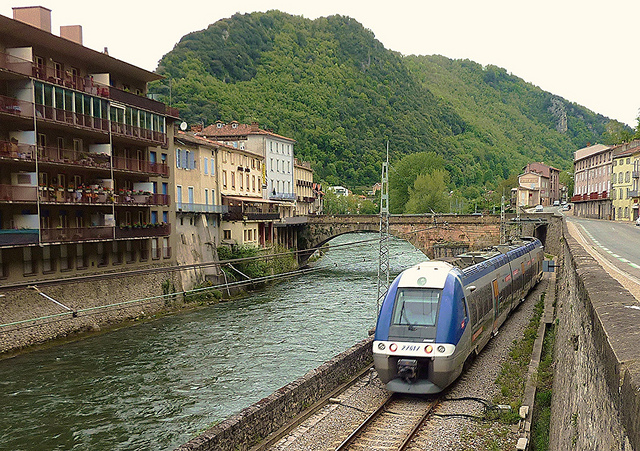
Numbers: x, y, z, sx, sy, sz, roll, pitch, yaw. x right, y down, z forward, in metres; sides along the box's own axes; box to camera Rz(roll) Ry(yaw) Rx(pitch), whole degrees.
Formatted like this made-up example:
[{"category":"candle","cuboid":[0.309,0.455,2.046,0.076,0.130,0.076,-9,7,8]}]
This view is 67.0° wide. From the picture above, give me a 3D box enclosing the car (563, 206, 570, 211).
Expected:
[{"category":"car","cuboid":[57.626,-3.991,112.240,1.531,1.165,2.562,4,12,23]}]
